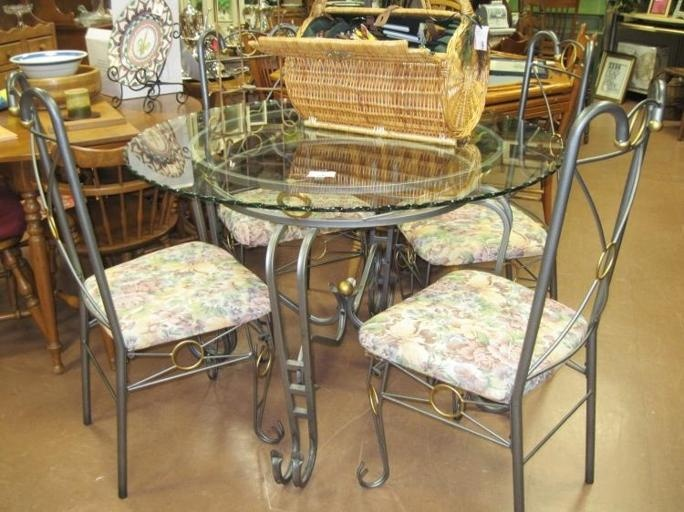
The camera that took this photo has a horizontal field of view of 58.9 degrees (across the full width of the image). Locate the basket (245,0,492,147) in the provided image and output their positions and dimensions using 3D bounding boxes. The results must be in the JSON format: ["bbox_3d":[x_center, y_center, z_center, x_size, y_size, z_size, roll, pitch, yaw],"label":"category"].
[{"bbox_3d":[0.114,-0.593,1.970,0.631,0.399,0.529,9,34,18],"label":"basket"}]

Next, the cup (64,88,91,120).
[{"bbox_3d":[-0.973,-0.557,2.232,0.081,0.104,0.124,0,9,-12],"label":"cup"}]

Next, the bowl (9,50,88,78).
[{"bbox_3d":[-1.166,-0.762,2.402,0.240,0.087,0.239,-1,33,1],"label":"bowl"}]

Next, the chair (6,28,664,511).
[{"bbox_3d":[0.092,0.086,2.169,1.531,1.000,1.489,3,29,12],"label":"chair"}]
